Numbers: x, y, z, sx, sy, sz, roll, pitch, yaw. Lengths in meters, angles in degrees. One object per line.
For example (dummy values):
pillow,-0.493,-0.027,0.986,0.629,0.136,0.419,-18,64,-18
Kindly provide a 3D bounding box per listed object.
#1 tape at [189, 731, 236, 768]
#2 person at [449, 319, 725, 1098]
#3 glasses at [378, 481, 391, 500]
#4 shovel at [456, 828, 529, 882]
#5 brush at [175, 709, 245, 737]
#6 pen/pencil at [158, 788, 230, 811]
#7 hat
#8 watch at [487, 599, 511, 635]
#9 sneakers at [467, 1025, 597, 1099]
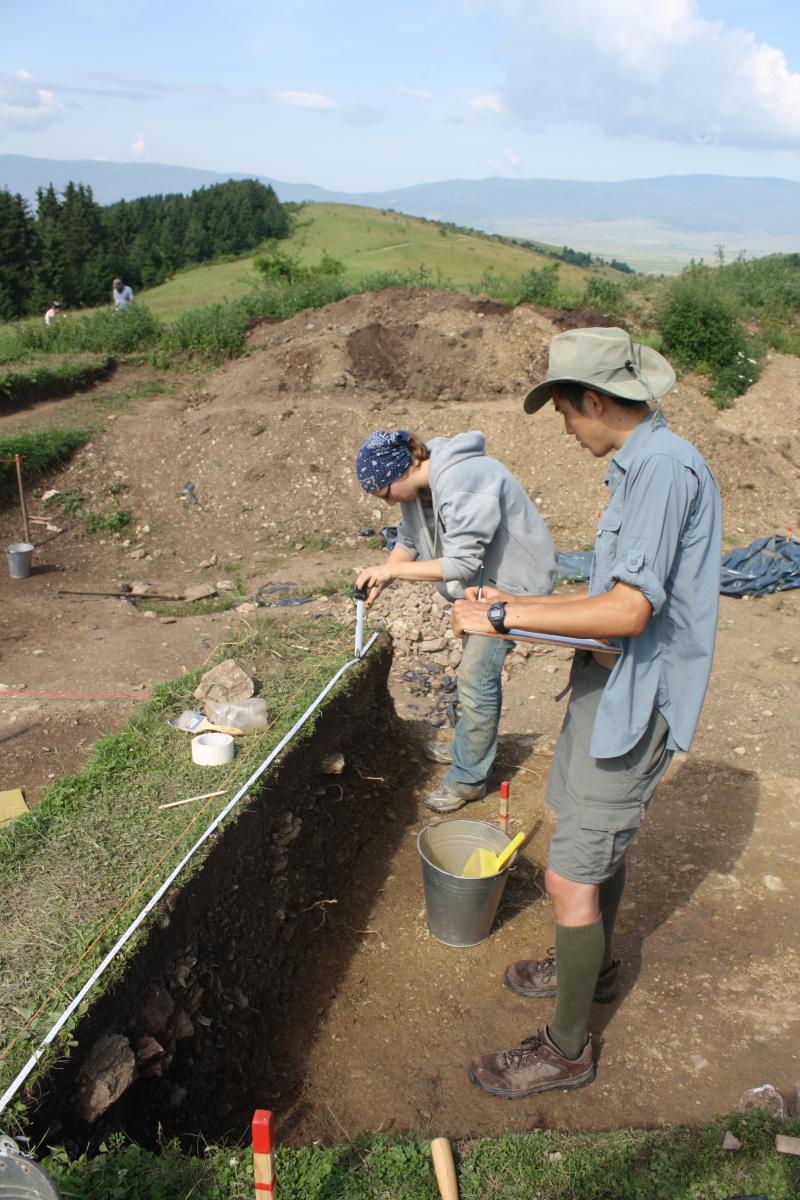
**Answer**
tape,-0.770,0.600,3.746,0.139,0.075,0.134,5,21,6
person,0.499,0.428,2.710,0.664,2.366,0.612,-1,19,-11
glasses,-0.067,-0.460,3.875,0.041,0.045,0.051,1,22,2
shovel,0.329,0.983,3.507,0.048,0.320,0.171,38,35,-22
brush,-0.840,0.527,3.981,0.359,0.114,0.051,3,-24,38
pen/pencil,-0.772,0.755,3.488,0.322,0.025,0.025,-9,52,5
hat,0.511,-0.615,2.483,0.296,0.144,0.262,13,35,33
watch,0.262,0.043,2.473,0.059,0.086,0.083,3,-5,24
sneakers,0.398,1.473,3.012,0.445,0.199,0.181,-3,17,1
